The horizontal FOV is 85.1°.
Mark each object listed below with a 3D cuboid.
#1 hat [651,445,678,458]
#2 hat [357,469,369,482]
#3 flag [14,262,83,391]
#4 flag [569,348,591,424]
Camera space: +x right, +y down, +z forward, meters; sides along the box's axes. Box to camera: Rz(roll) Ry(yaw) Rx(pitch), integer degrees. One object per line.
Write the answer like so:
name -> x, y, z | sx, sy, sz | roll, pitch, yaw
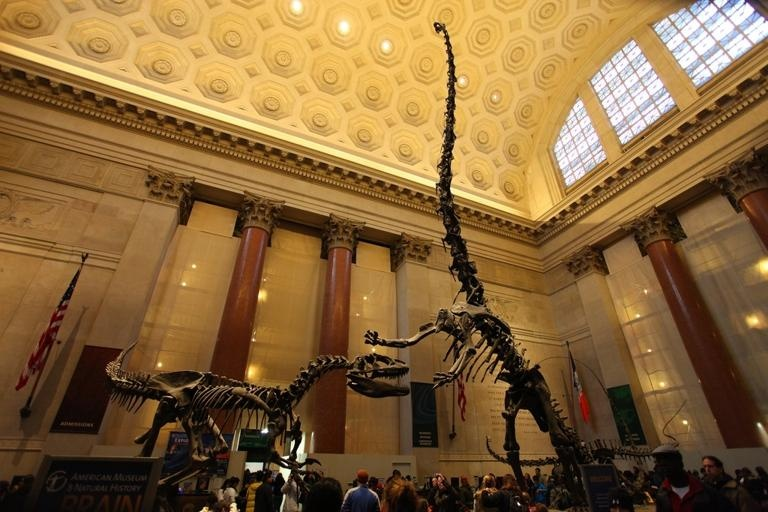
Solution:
hat -> 3.246, 2.232, 4.817 | 0.345, 0.140, 0.175 | 18, -36, -28
hat -> -0.301, 3.165, 5.985 | 0.120, 0.146, 0.140 | 6, -32, -11
flag -> -7.064, 1.270, 9.040 | 0.325, 3.090, 0.995 | 23, -39, -33
flag -> 5.600, 3.654, 12.052 | 0.337, 2.231, 1.239 | -14, -34, 21
